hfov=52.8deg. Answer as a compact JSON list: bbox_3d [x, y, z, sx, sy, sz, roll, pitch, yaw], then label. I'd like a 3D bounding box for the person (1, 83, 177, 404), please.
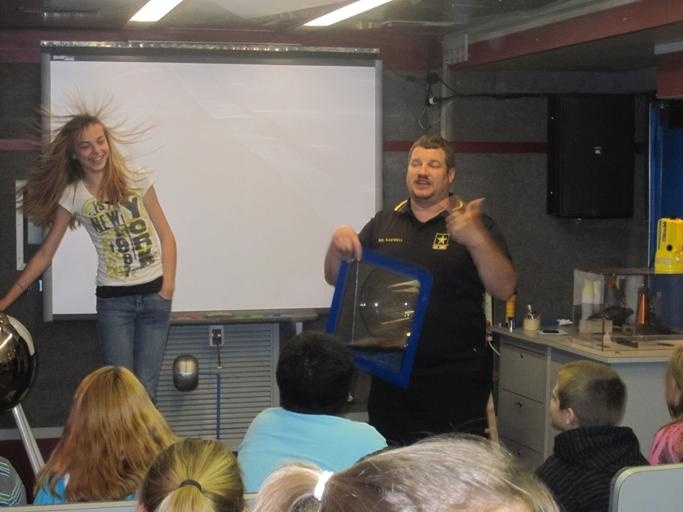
[{"bbox_3d":[-1.210,-0.012,3.421,0.770,1.392,0.235,3,6,16],"label":"person"}]

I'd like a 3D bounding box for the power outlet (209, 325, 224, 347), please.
[{"bbox_3d":[-0.727,0.465,3.993,0.078,0.132,0.049,1,6,-4],"label":"power outlet"}]

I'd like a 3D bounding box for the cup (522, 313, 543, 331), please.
[{"bbox_3d":[1.194,0.419,4.307,0.108,0.093,0.102,1,-3,0],"label":"cup"}]

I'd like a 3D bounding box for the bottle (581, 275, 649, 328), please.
[{"bbox_3d":[1.486,0.230,3.772,0.308,0.272,0.295,1,2,7],"label":"bottle"}]

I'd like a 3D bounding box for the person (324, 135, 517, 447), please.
[{"bbox_3d":[0.314,0.417,3.072,0.834,1.808,0.587,5,9,25],"label":"person"}]
